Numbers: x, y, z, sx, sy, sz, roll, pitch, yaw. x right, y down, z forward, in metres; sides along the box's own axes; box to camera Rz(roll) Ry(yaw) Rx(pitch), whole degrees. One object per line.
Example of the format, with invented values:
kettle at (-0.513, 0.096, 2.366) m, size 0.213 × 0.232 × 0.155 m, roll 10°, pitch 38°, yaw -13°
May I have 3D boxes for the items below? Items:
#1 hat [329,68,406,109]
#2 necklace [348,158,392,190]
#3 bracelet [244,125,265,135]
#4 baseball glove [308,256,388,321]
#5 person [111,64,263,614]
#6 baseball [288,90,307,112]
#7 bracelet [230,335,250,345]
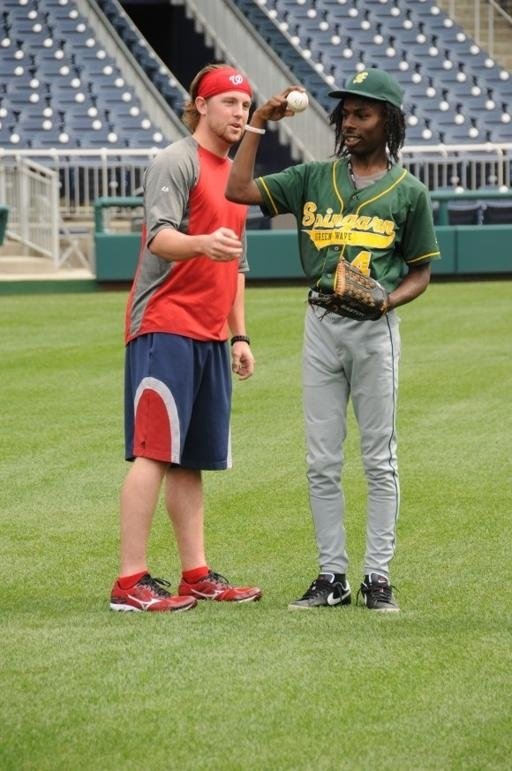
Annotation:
hat at (0.302, -0.792, 3.148) m, size 0.167 × 0.081 × 0.117 m, roll 3°, pitch 8°, yaw -31°
necklace at (0.297, -0.575, 3.146) m, size 0.065 × 0.083 × 0.043 m, roll 11°, pitch 33°, yaw 5°
bracelet at (-0.006, -0.685, 3.155) m, size 0.045 × 0.011 × 0.043 m, roll 12°, pitch 5°, yaw -19°
baseball glove at (0.250, -0.229, 3.064) m, size 0.183 × 0.093 × 0.147 m, roll 26°, pitch 20°, yaw -53°
person at (-0.206, -0.115, 3.229) m, size 0.444 × 1.504 × 0.624 m, roll -3°, pitch 9°, yaw 1°
baseball at (0.116, -0.768, 3.193) m, size 0.045 × 0.057 × 0.175 m, roll -1°, pitch 9°, yaw 14°
bracelet at (-0.053, -0.130, 3.511) m, size 0.037 × 0.033 × 0.034 m, roll -1°, pitch -4°, yaw 3°
